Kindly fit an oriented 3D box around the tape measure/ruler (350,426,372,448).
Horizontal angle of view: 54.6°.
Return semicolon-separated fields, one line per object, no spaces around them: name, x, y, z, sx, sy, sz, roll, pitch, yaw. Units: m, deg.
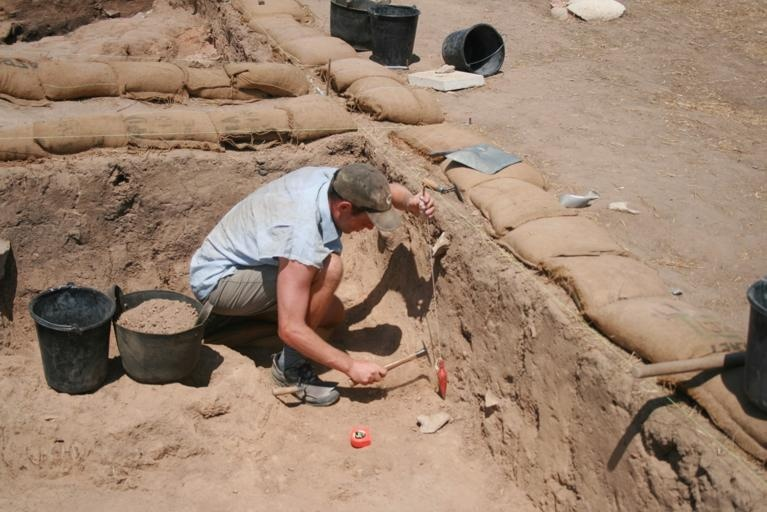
tape measure/ruler;-0.168;1.361;5.620;0.160;0.069;0.158;0;38;-7

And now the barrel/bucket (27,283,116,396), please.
barrel/bucket;-2.357;0.637;5.674;0.690;0.610;0.627;12;26;6

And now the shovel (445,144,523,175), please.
shovel;0.876;-0.882;6.645;0.575;0.106;0.484;26;42;25

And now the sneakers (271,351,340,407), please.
sneakers;-0.618;0.977;5.921;0.706;0.281;0.266;18;26;15

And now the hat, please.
hat;-0.103;-0.437;5.677;0.597;0.311;0.373;37;34;-1

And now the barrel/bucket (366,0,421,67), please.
barrel/bucket;0.191;-3.010;10.054;0.843;0.685;0.754;17;34;29

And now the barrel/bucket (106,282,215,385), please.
barrel/bucket;-1.786;0.567;5.833;0.836;0.545;0.692;4;27;-15
